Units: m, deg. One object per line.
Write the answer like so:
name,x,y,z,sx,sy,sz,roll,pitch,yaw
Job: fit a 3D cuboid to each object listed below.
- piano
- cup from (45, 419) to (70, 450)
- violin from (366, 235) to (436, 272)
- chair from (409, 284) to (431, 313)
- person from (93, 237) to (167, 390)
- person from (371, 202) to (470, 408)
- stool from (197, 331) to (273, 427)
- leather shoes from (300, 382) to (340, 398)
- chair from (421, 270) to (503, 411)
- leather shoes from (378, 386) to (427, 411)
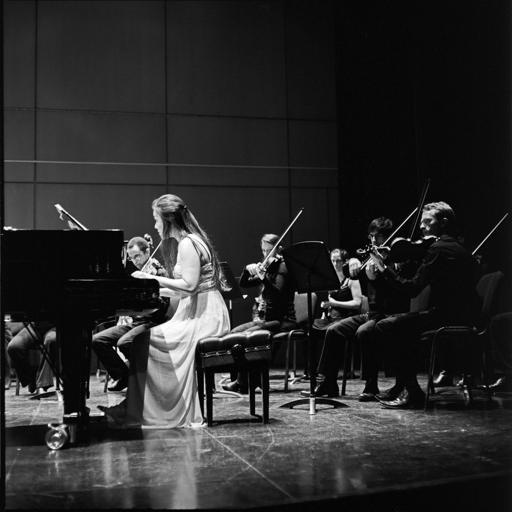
piano,-0.968,0.452,4.145,0.839,1.408,1.017,1,-3,-12
cup,-0.985,0.892,3.542,0.110,0.124,0.162,2,-7,-14
violin,1.024,-0.047,4.882,0.312,0.181,0.104,7,38,21
chair,1.206,0.311,5.418,0.141,0.205,0.198,2,-6,-10
person,-0.893,0.406,5.111,0.550,1.134,0.381,-3,7,-5
person,1.096,0.320,4.703,0.653,1.332,0.376,-1,-5,10
stool,-0.164,0.693,4.180,0.458,0.592,0.500,3,-25,-18
leather shoes,0.449,0.960,5.116,0.294,0.144,0.118,5,-11,-14
chair,1.368,0.492,4.806,0.509,0.826,0.510,2,-1,33
leather shoes,0.938,0.941,4.673,0.360,0.174,0.116,5,-12,-21
